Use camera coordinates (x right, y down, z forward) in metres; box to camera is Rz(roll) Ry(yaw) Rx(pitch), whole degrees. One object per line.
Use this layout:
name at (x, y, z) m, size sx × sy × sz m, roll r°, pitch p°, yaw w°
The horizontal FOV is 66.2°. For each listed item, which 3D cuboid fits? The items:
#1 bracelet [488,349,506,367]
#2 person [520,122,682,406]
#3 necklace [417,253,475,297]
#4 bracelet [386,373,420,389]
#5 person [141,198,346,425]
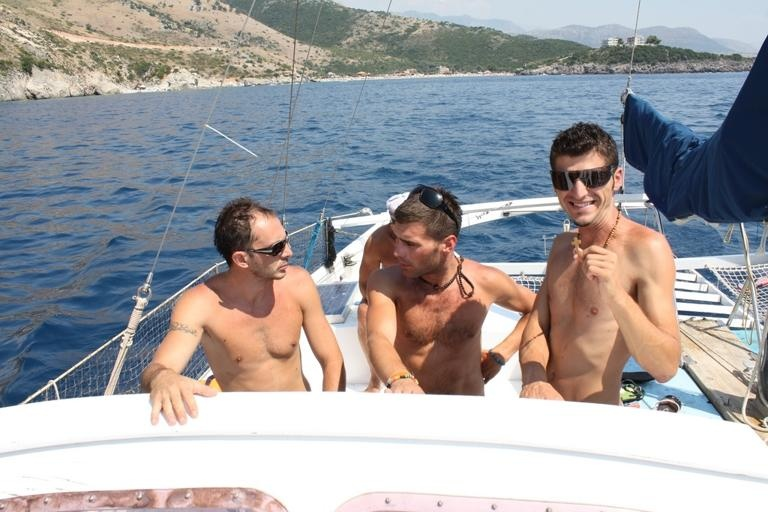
bracelet at (0.727, 0.664, 3.829) m, size 0.106 × 0.040 × 0.081 m, roll 38°, pitch -7°, yaw -25°
person at (1.209, 0.079, 3.247) m, size 0.821 × 1.543 × 0.703 m, roll 5°, pitch 19°, yaw 12°
necklace at (0.391, 0.120, 3.687) m, size 0.222 × 0.338 × 0.106 m, roll -39°, pitch 2°, yaw 29°
bracelet at (0.078, 0.652, 3.136) m, size 0.110 × 0.040 × 0.105 m, roll -5°, pitch 2°, yaw -9°
person at (-0.813, 0.298, 3.502) m, size 1.053 × 1.178 × 0.524 m, roll -6°, pitch 20°, yaw -19°
